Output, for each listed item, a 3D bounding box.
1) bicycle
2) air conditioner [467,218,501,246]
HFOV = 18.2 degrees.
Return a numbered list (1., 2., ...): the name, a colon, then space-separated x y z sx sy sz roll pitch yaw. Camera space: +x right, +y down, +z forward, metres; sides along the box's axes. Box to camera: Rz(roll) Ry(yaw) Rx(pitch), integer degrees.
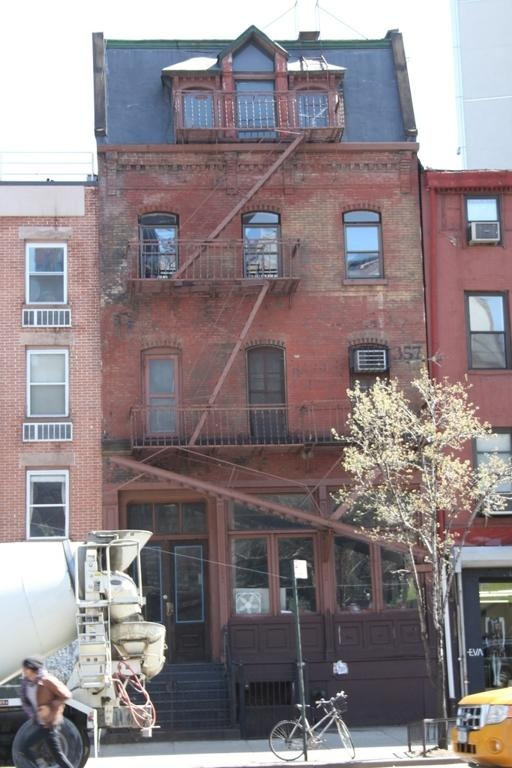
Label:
1. bicycle: 0.864 6.073 27.678 1.905 1.357 0.953 -6 -20 5
2. air conditioner: 4.878 -3.231 34.009 0.785 0.550 0.449 2 -21 -5
